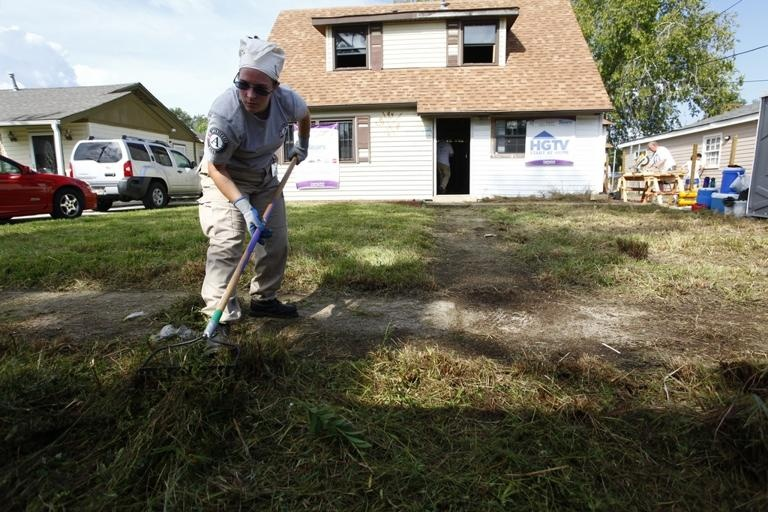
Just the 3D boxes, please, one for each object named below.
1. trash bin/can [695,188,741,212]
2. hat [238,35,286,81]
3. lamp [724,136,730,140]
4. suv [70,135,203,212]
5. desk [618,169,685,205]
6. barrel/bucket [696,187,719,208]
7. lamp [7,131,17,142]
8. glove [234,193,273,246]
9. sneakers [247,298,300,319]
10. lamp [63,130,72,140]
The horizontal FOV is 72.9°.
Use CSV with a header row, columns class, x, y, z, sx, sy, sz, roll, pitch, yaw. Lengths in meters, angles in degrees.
class,x,y,z,sx,sy,sz,roll,pitch,yaw
trash bin/can,7.757,-1.347,12.112,0.716,0.587,0.657,4,9,23
hat,-0.967,-1.543,4.001,0.297,0.333,0.350,1,11,10
lamp,13.976,-4.875,21.248,0.040,0.157,0.162,7,18,-20
suv,-6.475,-2.280,15.145,2.519,2.003,4.993,3,12,13
desk,7.558,-1.969,14.658,1.269,0.846,1.829,1,10,24
barrel/bucket,7.722,-1.445,12.532,0.533,0.536,0.520,0,1,0
lamp,-12.792,-4.187,17.970,0.343,0.380,0.093,-2,11,-7
glove,-1.106,-0.307,4.422,0.298,0.457,0.406,-3,11,-12
sneakers,-0.977,0.465,4.680,0.440,0.188,0.181,0,0,-5
lamp,-10.663,-4.161,17.659,0.288,0.261,0.066,3,14,1
